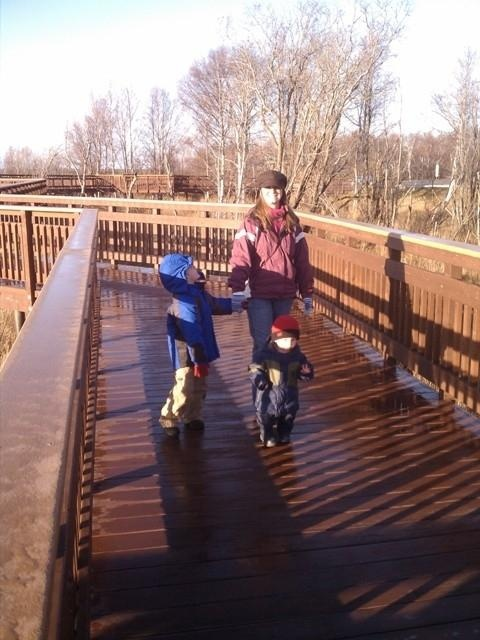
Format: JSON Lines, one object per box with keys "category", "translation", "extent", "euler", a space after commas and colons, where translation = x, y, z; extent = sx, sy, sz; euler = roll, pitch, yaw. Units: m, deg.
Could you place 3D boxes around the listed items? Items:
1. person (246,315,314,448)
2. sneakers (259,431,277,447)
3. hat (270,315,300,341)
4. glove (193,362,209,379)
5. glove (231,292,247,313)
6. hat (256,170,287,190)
{"category": "person", "translation": [0.270, 0.401, 3.044], "extent": [0.388, 0.889, 0.314], "euler": [1, 9, 8]}
{"category": "sneakers", "translation": [0.187, 0.805, 3.141], "extent": [0.048, 0.077, 0.154], "euler": [0, -2, -9]}
{"category": "hat", "translation": [0.279, 0.045, 2.914], "extent": [0.128, 0.159, 0.136], "euler": [0, 1, -37]}
{"category": "glove", "translation": [-0.234, 0.319, 2.945], "extent": [0.077, 0.121, 0.105], "euler": [2, 10, 11]}
{"category": "glove", "translation": [-0.026, -0.123, 3.142], "extent": [0.080, 0.150, 0.125], "euler": [3, 1, 20]}
{"category": "hat", "translation": [0.212, -0.946, 3.162], "extent": [0.205, 0.122, 0.219], "euler": [1, 11, 3]}
